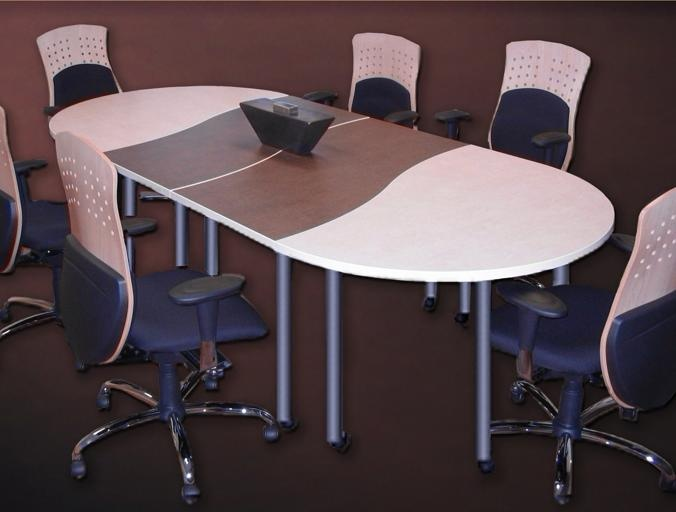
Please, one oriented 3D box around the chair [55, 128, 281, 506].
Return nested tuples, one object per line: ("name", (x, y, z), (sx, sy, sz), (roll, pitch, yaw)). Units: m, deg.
("chair", (-0.771, 0.227, 2.491), (0.904, 1.392, 0.649), (11, 31, 21))
